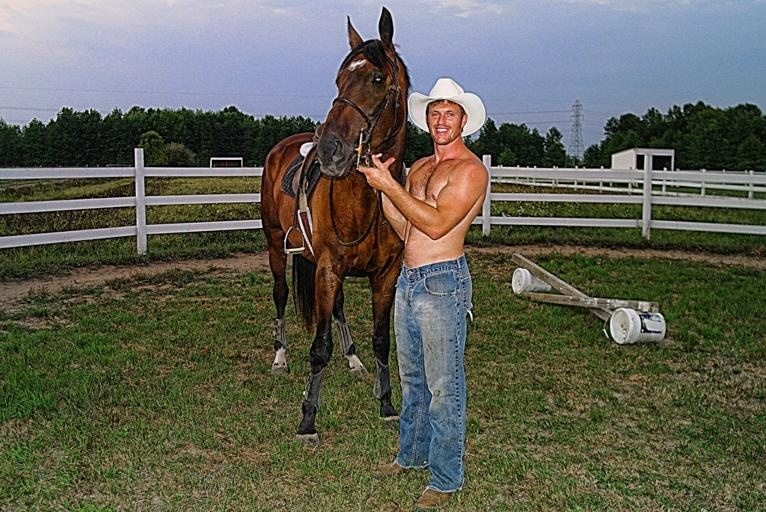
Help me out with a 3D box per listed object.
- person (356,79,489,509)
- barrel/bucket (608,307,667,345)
[{"bbox_3d":[0.452,0.360,5.557,1.077,4.098,1.107,1,13,-1],"label":"person"},{"bbox_3d":[3.961,1.121,8.538,0.752,0.527,0.421,4,14,9],"label":"barrel/bucket"}]
